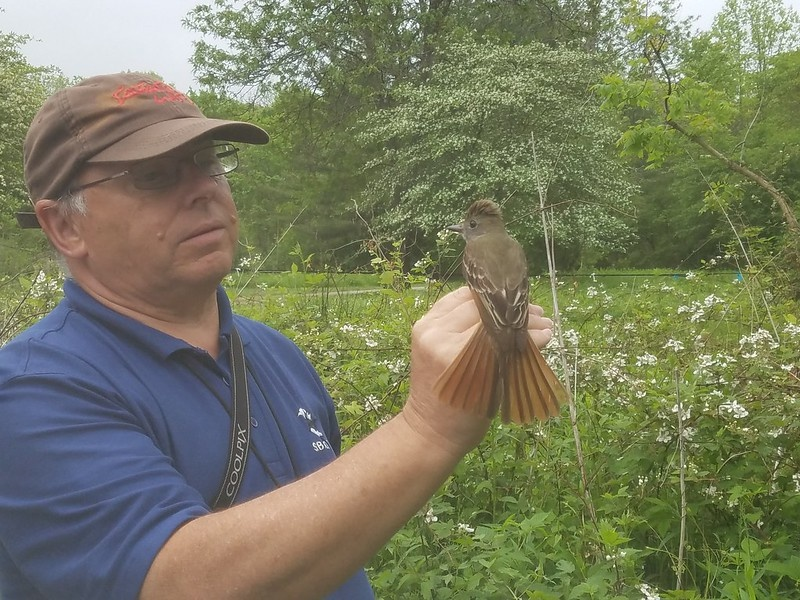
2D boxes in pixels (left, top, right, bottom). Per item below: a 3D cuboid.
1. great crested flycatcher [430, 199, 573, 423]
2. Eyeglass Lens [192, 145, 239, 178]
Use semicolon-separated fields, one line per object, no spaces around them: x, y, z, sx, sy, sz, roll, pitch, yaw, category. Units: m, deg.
0.396;0.069;3.167;0.529;0.489;1.300;4;37;1;great crested flycatcher
-0.742;-0.569;2.987;0.139;0.053;0.121;10;42;31;Eyeglass Lens
